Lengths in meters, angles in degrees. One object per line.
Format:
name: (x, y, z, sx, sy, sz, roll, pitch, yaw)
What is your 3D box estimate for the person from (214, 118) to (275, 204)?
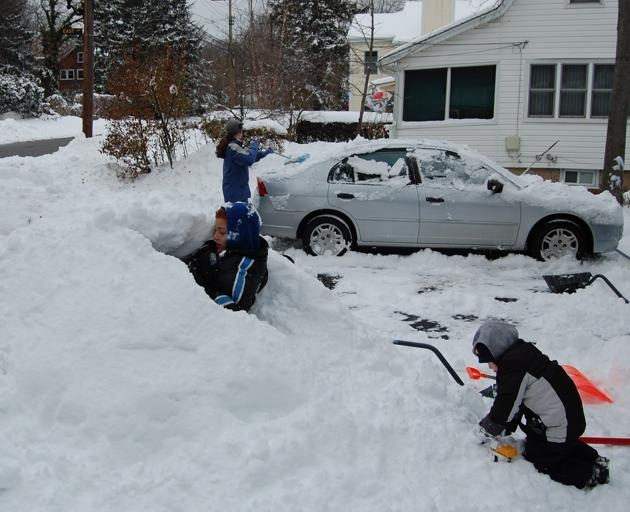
person: (-1.032, -1.318, 7.727, 0.549, 1.097, 0.352, 7, 15, 28)

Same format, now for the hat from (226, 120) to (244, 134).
hat: (-1.138, -1.822, 7.847, 0.212, 0.198, 0.307, -3, 15, -9)

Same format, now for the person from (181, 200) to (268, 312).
person: (-0.702, 0.006, 4.831, 0.546, 0.896, 0.685, 8, 16, 33)

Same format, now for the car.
car: (1.757, -0.714, 8.711, 5.089, 1.853, 2.142, -1, 9, 4)
